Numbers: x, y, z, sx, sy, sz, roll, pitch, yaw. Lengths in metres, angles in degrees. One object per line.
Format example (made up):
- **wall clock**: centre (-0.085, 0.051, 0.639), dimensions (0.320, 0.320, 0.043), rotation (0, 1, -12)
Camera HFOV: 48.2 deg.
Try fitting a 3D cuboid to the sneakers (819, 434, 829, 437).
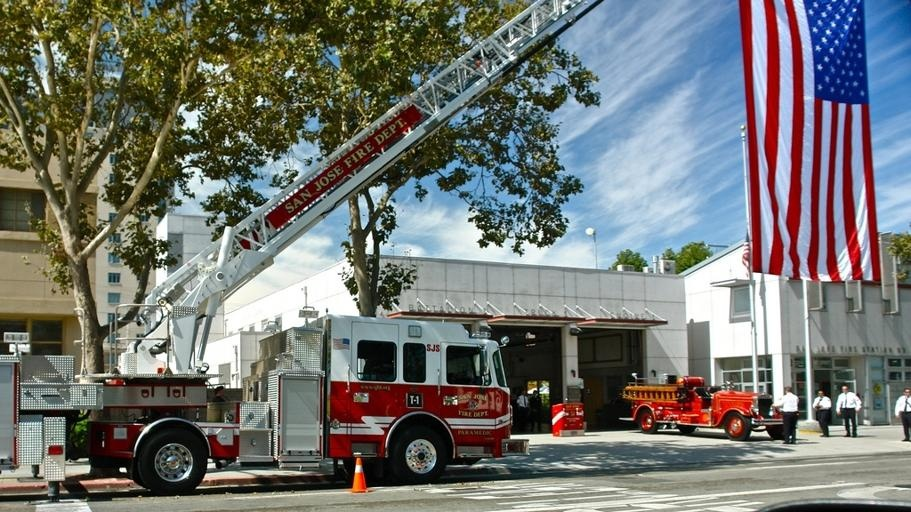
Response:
- **sneakers**: centre (16.777, 8.106, 46.375), dimensions (0.305, 0.118, 0.413), rotation (1, 2, 19)
